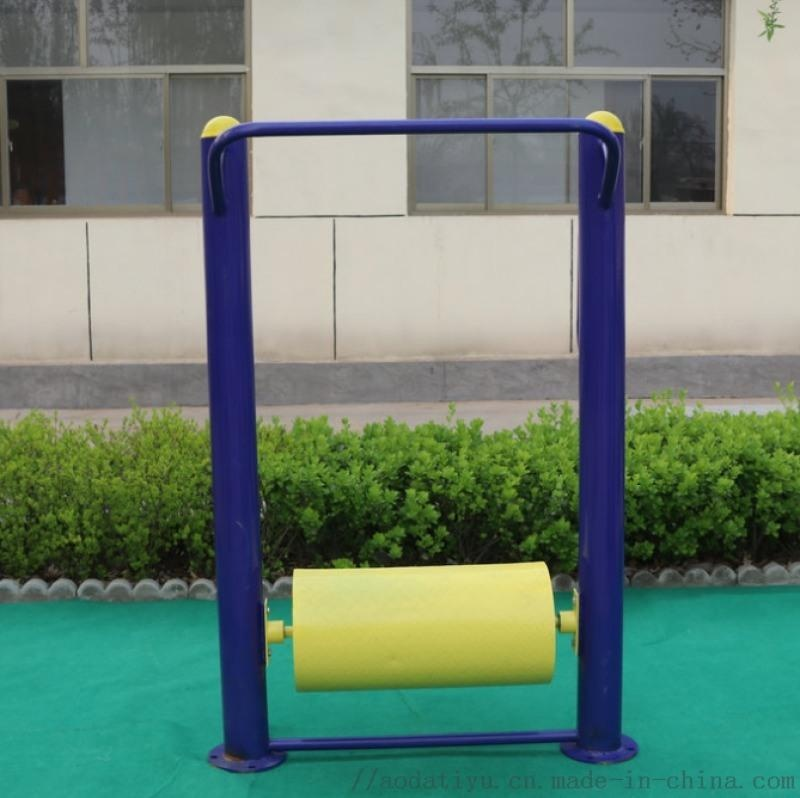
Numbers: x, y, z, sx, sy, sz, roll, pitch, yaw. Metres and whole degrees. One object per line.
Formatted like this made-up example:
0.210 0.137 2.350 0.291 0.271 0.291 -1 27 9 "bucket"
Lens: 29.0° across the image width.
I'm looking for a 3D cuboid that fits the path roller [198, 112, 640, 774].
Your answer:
-0.001 0.285 7.659 2.145 4.069 2.069 -1 40 -3 "path roller"
